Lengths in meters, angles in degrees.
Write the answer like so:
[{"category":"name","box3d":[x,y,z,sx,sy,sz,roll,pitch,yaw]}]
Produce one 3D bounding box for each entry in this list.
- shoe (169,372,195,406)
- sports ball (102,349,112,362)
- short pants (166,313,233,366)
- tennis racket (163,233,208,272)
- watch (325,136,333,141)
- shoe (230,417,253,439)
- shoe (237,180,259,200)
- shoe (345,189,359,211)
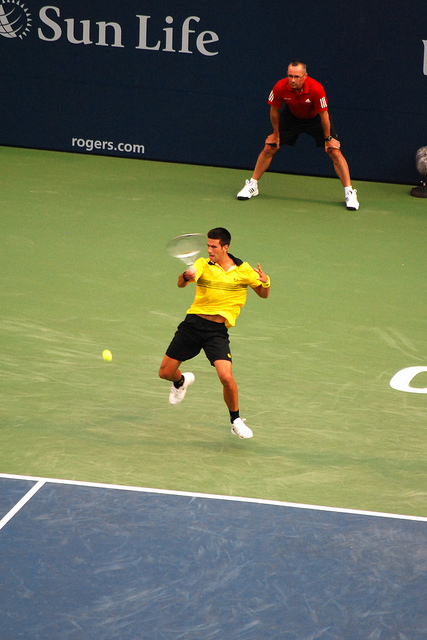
[{"category":"shoe","box3d":[-0.289,0.603,5.027,0.166,0.351,0.134,-7,39,-45]},{"category":"sports ball","box3d":[-0.961,0.317,5.492,0.082,0.096,0.134,-3,-12,-16]},{"category":"short pants","box3d":[-0.096,0.173,4.758,0.497,0.390,0.195,11,-11,7]},{"category":"tennis racket","box3d":[-0.149,-0.488,4.648,0.324,0.329,0.307,6,6,-32]},{"category":"watch","box3d":[1.724,-2.708,8.882,0.063,0.073,0.046,2,12,10]},{"category":"shoe","box3d":[0.223,0.808,4.462,0.089,0.092,0.230,-24,15,-21]},{"category":"shoe","box3d":[0.571,-2.081,9.644,0.177,0.213,0.476,14,26,23]},{"category":"shoe","box3d":[2.217,-1.889,9.382,0.311,0.320,0.152,-4,17,-28]}]
